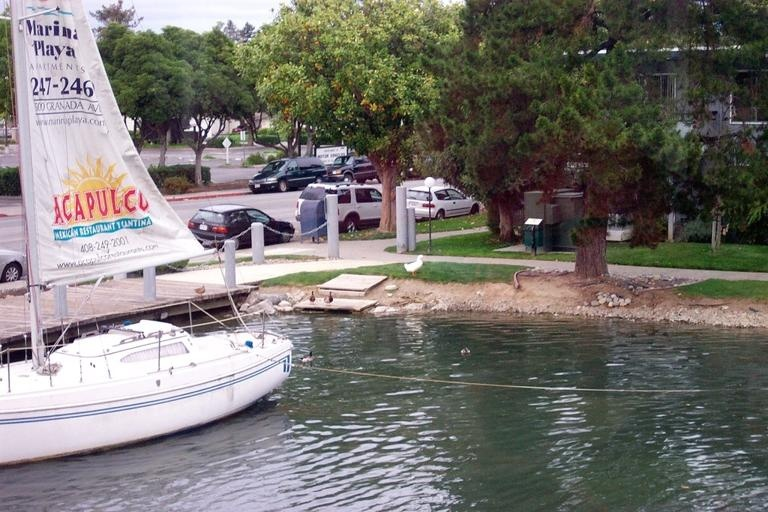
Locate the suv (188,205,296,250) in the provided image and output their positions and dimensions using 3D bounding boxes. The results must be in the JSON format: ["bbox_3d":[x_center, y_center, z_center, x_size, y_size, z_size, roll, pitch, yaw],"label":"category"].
[{"bbox_3d":[-6.350,-1.444,46.069,4.266,1.604,2.402,-13,16,-43],"label":"suv"}]

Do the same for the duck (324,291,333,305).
[{"bbox_3d":[-1.974,1.570,37.488,0.268,0.383,0.139,8,0,32],"label":"duck"}]

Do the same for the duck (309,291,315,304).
[{"bbox_3d":[-2.637,1.525,37.651,0.127,0.419,0.177,-2,-7,26],"label":"duck"}]

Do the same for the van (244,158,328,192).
[{"bbox_3d":[-6.853,-5.558,71.341,4.865,1.876,2.401,-6,3,-45],"label":"van"}]

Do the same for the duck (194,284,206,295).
[{"bbox_3d":[-6.507,1.201,36.455,0.325,0.087,0.308,16,24,36],"label":"duck"}]

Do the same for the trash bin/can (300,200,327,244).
[{"bbox_3d":[-3.276,-1.623,47.565,1.192,1.961,1.194,-2,4,-5],"label":"trash bin/can"}]

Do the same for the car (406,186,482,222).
[{"bbox_3d":[3.184,-2.874,55.324,3.997,1.325,1.777,-10,13,-44],"label":"car"}]

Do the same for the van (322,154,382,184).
[{"bbox_3d":[-2.480,-6.222,74.763,5.084,2.231,2.675,-3,3,-42],"label":"van"}]
